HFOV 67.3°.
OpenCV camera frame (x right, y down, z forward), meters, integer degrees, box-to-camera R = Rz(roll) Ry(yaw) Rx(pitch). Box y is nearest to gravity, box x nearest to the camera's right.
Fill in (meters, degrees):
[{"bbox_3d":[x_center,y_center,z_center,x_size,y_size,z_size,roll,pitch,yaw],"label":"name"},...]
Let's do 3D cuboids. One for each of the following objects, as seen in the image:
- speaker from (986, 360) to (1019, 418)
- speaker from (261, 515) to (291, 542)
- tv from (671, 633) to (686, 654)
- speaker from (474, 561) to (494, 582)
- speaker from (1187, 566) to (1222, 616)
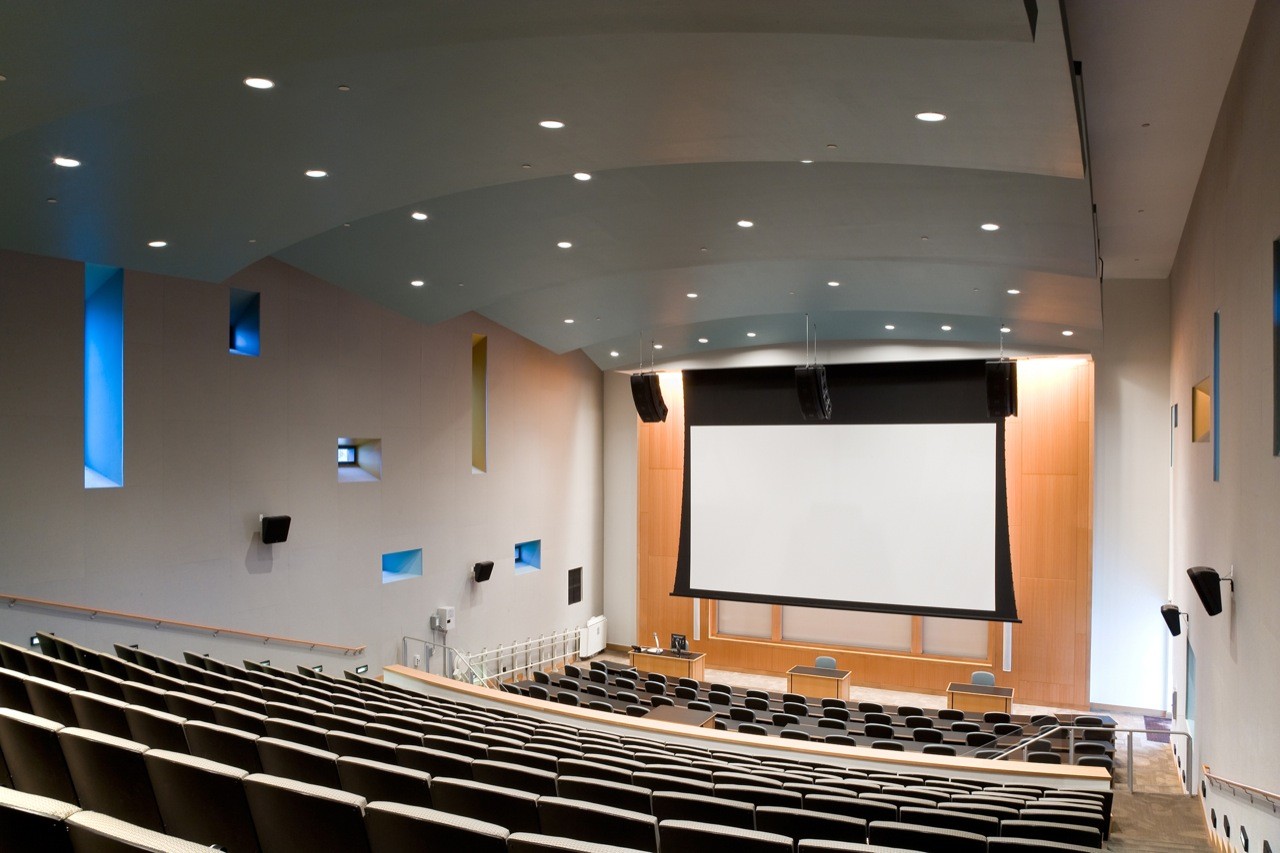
[{"bbox_3d":[6.401,-0.716,17.042,0.422,0.888,0.715,-2,-8,23],"label":"speaker"},{"bbox_3d":[-5.715,1.601,15.238,0.361,0.404,0.384,2,-2,31],"label":"speaker"},{"bbox_3d":[0.865,4.621,20.721,0.368,0.403,0.308,-1,-7,17],"label":"tv"},{"bbox_3d":[-3.058,2.861,19.206,0.211,0.398,0.595,-2,-8,22],"label":"speaker"},{"bbox_3d":[6.803,1.950,11.584,0.379,0.644,0.181,-5,-7,-4],"label":"speaker"}]
